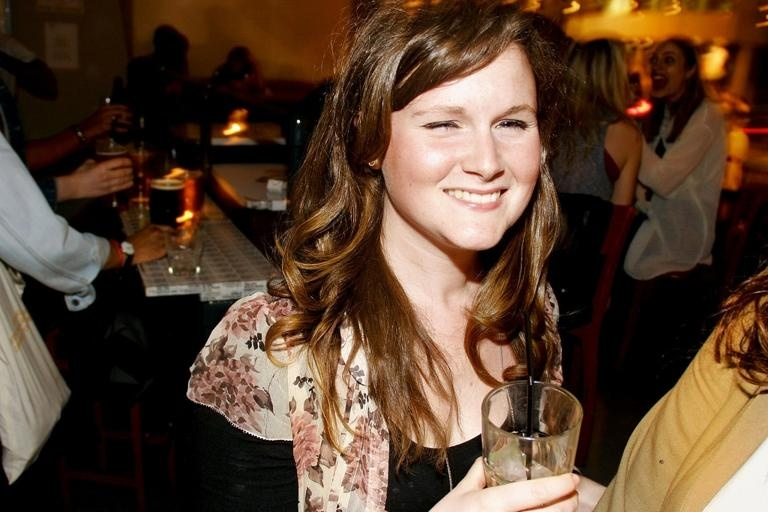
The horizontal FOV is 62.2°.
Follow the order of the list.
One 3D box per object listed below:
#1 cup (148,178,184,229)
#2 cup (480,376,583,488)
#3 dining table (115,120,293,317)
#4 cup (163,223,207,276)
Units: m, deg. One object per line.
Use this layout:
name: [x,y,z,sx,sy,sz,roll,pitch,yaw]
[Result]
cup: [-1.071,-0.259,3.160,0.173,0.289,0.170,4,14,-1]
cup: [0.365,0.463,1.745,0.247,0.293,0.288,0,10,4]
dining table: [-0.823,-0.060,3.077,0.676,0.267,1.074,-4,32,-13]
cup: [-0.940,-0.021,3.029,0.193,0.253,0.202,2,0,0]
